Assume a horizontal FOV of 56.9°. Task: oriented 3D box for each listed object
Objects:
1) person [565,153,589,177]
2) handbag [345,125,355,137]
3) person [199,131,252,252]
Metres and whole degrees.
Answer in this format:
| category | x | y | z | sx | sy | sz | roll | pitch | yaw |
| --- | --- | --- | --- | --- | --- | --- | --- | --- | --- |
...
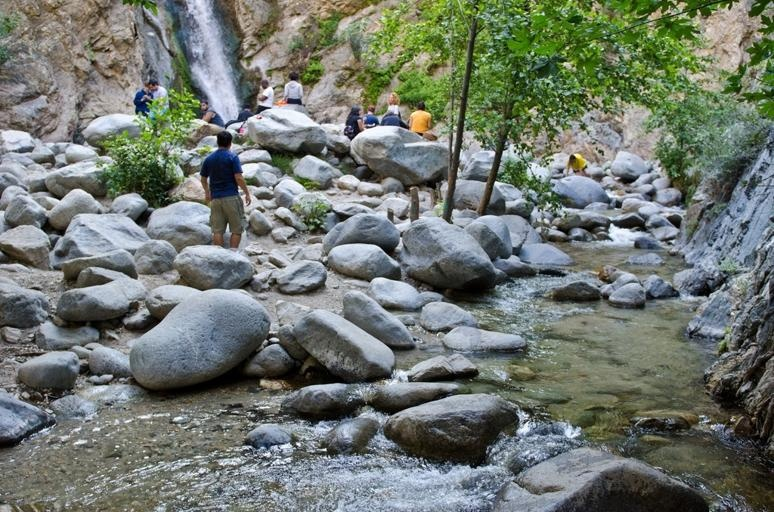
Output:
| category | x | y | z | sx | sy | sz | roll | pitch | yaw |
| --- | --- | --- | --- | --- | --- | --- | --- | --- | --- |
| person | 6.815 | -3.295 | 25.785 | 0.674 | 1.015 | 1.979 | 7 | 20 | 13 |
| handbag | -1.101 | -3.725 | 21.218 | 0.264 | 0.157 | 0.366 | 14 | 6 | 10 |
| person | -3.076 | -1.218 | 13.521 | 0.839 | 2.196 | 0.823 | 0 | 20 | -4 |
